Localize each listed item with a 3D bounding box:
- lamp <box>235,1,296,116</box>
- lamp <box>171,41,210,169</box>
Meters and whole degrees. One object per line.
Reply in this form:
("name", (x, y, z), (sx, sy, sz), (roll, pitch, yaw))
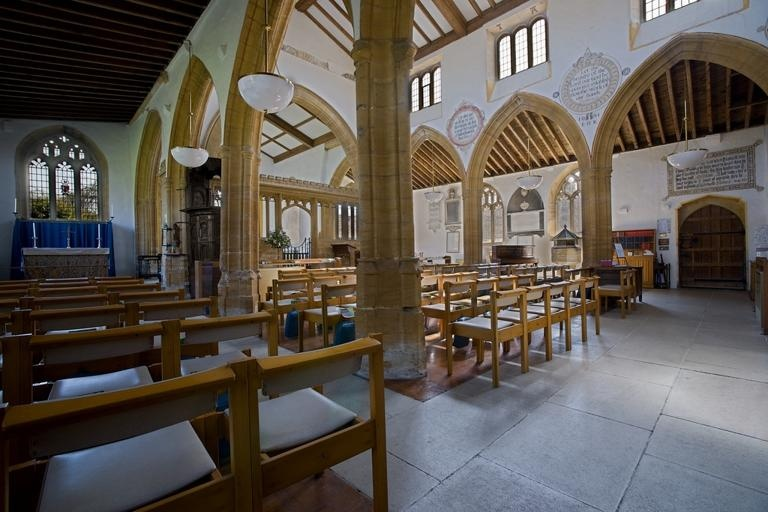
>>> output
("lamp", (-2.183, -3.864, 8.691), (0.909, 2.035, 1.719), (-3, 1, -12))
("lamp", (-4.750, -3.653, 11.464), (0.730, 3.052, 2.236), (-3, 1, -22))
